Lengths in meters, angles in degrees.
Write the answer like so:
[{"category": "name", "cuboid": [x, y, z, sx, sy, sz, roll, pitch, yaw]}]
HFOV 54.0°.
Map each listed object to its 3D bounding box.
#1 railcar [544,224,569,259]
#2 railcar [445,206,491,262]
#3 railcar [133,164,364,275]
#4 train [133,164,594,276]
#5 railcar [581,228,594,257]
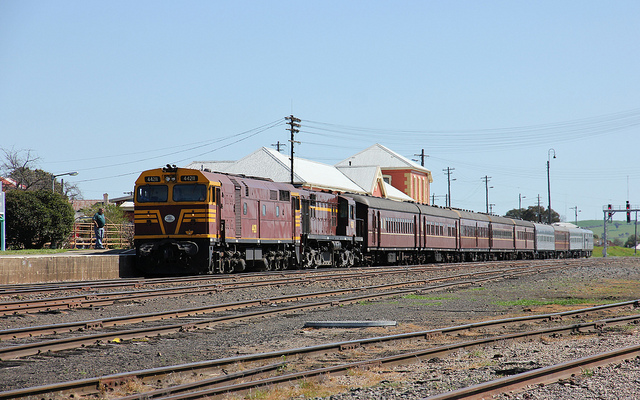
[{"category": "railcar", "cuboid": [27.536, 4.860, 74.831, 1.769, 3.637, 9.593, -4, -6, 31]}, {"category": "railcar", "cuboid": [12.956, 3.216, 55.829, 3.951, 5.240, 9.919, 0, -1, 25]}, {"category": "railcar", "cuboid": [-2.766, 1.699, 37.069, 4.119, 5.163, 19.235, -3, -7, 30]}, {"category": "train", "cuboid": [6.825, 2.275, 46.795, 38.663, 3.693, 3.137, 6, 11, -37]}, {"category": "railcar", "cuboid": [36.699, 5.811, 86.420, 1.922, 3.858, 4.525, -2, -1, 21]}]
